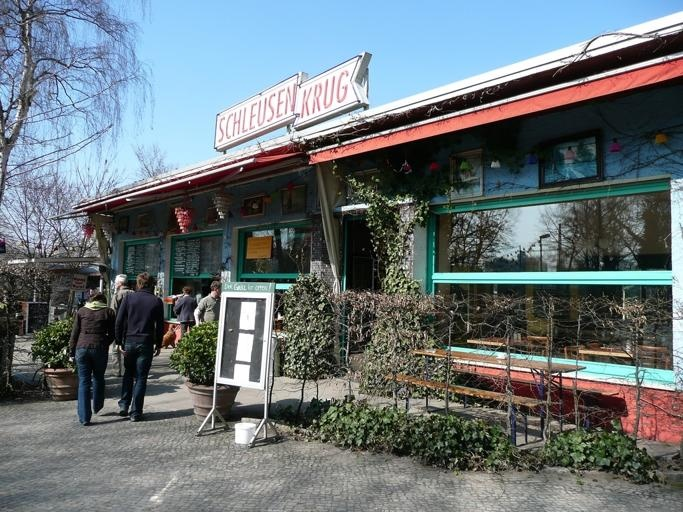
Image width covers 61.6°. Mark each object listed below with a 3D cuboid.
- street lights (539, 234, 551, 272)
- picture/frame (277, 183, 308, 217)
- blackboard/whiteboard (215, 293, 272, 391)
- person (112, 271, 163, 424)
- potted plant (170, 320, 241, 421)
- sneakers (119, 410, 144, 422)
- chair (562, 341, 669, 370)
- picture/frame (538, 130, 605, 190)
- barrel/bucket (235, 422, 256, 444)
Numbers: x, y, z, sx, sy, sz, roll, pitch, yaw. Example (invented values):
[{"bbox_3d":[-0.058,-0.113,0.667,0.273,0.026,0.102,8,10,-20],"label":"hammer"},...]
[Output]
[{"bbox_3d":[3.371,-0.064,9.509,0.172,0.601,0.201,5,9,36],"label":"street lights"},{"bbox_3d":[-1.044,-1.259,12.895,0.929,0.600,0.072,-2,-6,42],"label":"picture/frame"},{"bbox_3d":[-1.387,1.162,8.142,1.020,1.330,0.440,3,8,26],"label":"blackboard/whiteboard"},{"bbox_3d":[-3.108,1.397,8.896,0.679,2.200,0.688,-5,9,-37],"label":"person"},{"bbox_3d":[-1.820,1.837,9.091,1.600,1.425,1.469,3,-8,-12],"label":"potted plant"},{"bbox_3d":[-3.228,2.476,8.824,0.155,0.178,0.460,9,-22,-36],"label":"sneakers"},{"bbox_3d":[4.102,1.466,8.492,1.475,0.433,0.272,5,8,40],"label":"chair"},{"bbox_3d":[3.705,-1.512,9.033,1.117,1.152,0.110,-4,-7,38],"label":"picture/frame"},{"bbox_3d":[-1.292,2.416,7.779,0.290,0.246,0.243,1,7,9],"label":"barrel/bucket"}]
